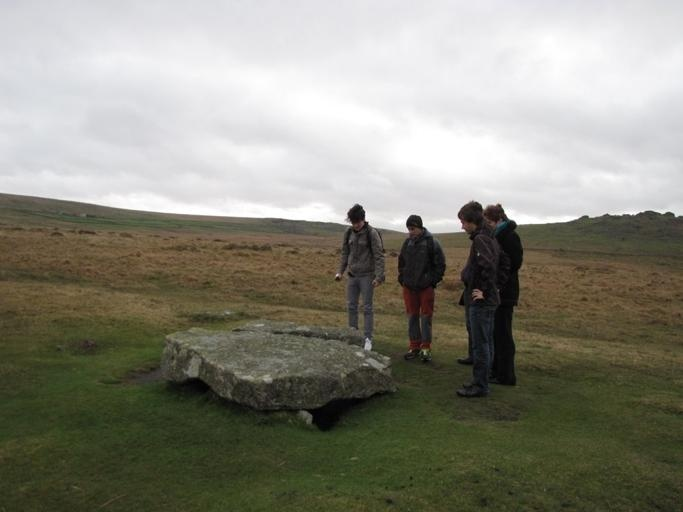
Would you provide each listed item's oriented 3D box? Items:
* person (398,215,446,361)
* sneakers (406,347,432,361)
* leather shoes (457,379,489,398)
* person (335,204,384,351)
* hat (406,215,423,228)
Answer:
[{"bbox_3d":[1.592,0.645,9.151,0.920,2.867,0.589,5,4,22],"label":"person"},{"bbox_3d":[1.568,1.991,9.109,0.267,0.169,0.436,-9,-24,38],"label":"sneakers"},{"bbox_3d":[2.111,2.117,7.227,0.432,0.180,0.262,4,-10,-2],"label":"leather shoes"},{"bbox_3d":[0.379,0.414,9.422,1.031,2.872,0.639,6,5,31],"label":"person"},{"bbox_3d":[1.456,-0.656,8.909,0.282,0.255,0.330,3,4,3],"label":"hat"}]
